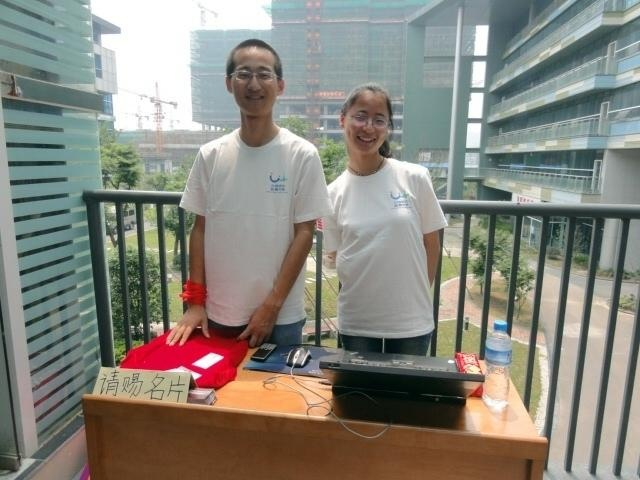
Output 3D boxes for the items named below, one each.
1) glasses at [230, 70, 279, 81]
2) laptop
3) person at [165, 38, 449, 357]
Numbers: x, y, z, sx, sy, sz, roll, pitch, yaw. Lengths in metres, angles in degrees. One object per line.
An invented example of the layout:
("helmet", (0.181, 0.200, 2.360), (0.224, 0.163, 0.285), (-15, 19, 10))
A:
("glasses", (-0.270, -0.661, 2.000), (0.182, 0.042, 0.053), (0, 11, -6))
("laptop", (0.251, 0.452, 1.579), (0.494, 0.147, 0.124), (2, 11, 8))
("person", (-0.281, -0.172, 2.036), (0.637, 1.265, 0.410), (0, 11, -3))
